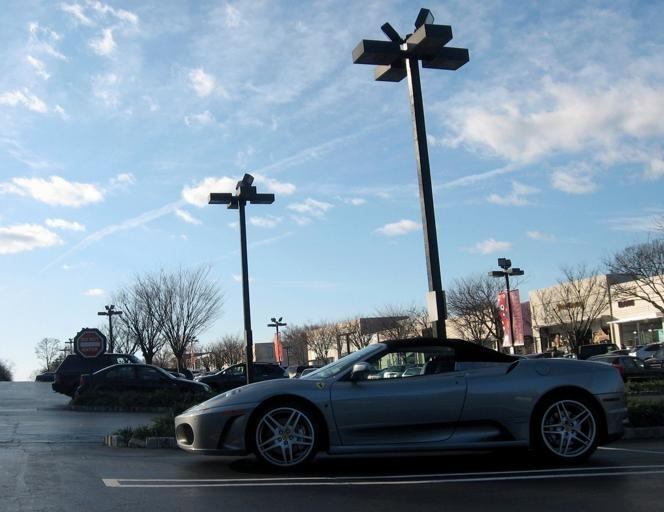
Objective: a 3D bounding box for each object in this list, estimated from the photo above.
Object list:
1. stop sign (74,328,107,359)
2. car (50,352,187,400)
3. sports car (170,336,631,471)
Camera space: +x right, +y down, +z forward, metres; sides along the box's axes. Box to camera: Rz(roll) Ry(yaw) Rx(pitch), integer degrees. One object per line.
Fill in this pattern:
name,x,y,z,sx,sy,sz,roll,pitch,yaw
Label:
stop sign,-10.600,3.870,26.648,1.247,1.214,1.396,-1,-13,-23
car,-10.043,5.665,27.483,5.669,1.803,2.415,-1,-7,-9
sports car,1.007,1.984,8.165,4.767,1.216,2.189,1,-13,-4
